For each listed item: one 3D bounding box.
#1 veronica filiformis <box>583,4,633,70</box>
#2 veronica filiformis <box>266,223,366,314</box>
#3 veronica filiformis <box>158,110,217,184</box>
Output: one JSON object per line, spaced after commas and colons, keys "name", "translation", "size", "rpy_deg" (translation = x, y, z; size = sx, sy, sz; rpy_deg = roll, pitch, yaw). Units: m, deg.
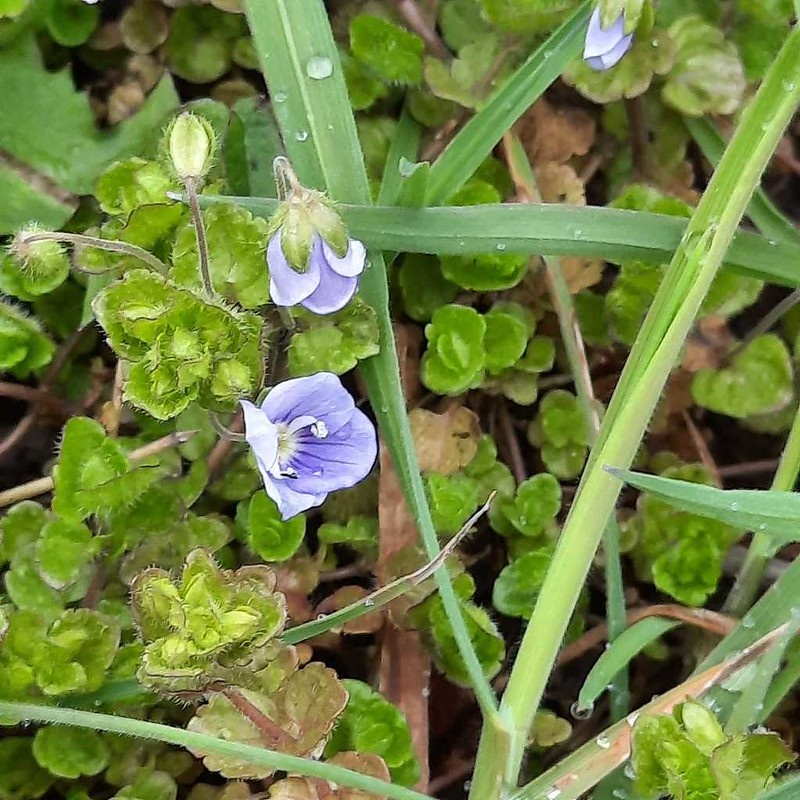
{"name": "veronica filiformis", "translation": [0.233, -0.405, 1.045], "size": [0.049, 0.058, 0.021], "rpy_deg": [29, 34, -7]}
{"name": "veronica filiformis", "translation": [-0.083, -0.133, 0.969], "size": [0.093, 0.119, 0.146], "rpy_deg": [0, 28, -2]}
{"name": "veronica filiformis", "translation": [-0.203, -0.246, 0.913], "size": [0.066, 0.078, 0.028], "rpy_deg": [0, -8, -8]}
